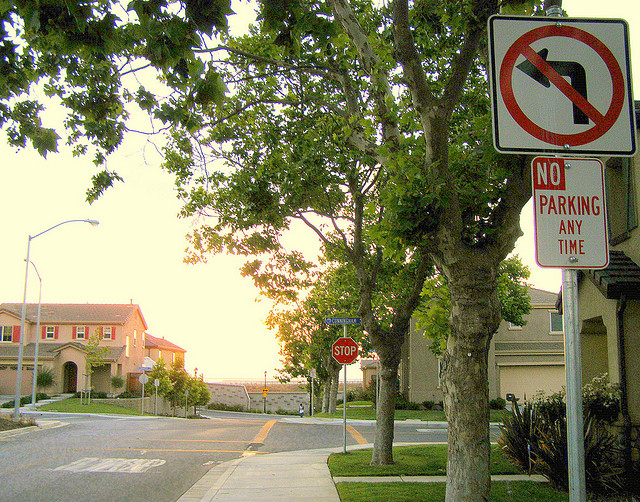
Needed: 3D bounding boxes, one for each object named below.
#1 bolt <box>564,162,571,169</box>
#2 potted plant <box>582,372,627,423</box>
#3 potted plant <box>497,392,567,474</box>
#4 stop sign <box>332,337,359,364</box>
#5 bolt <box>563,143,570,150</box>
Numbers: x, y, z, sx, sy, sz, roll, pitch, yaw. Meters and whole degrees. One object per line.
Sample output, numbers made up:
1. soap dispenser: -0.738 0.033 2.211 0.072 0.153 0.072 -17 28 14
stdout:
1. bolt: 1.966 -0.681 4.877 0.041 0.044 0.039 -18 -19 28
2. potted plant: 5.671 2.923 12.226 0.794 0.982 2.211 -7 -19 24
3. potted plant: 4.697 4.079 13.524 1.160 1.441 1.219 -8 1 -29
4. stop sign: 0.655 2.604 16.136 0.648 0.755 0.600 3 -16 -10
5. bolt: 2.013 -0.858 5.006 0.046 0.052 0.012 1 -2 19
